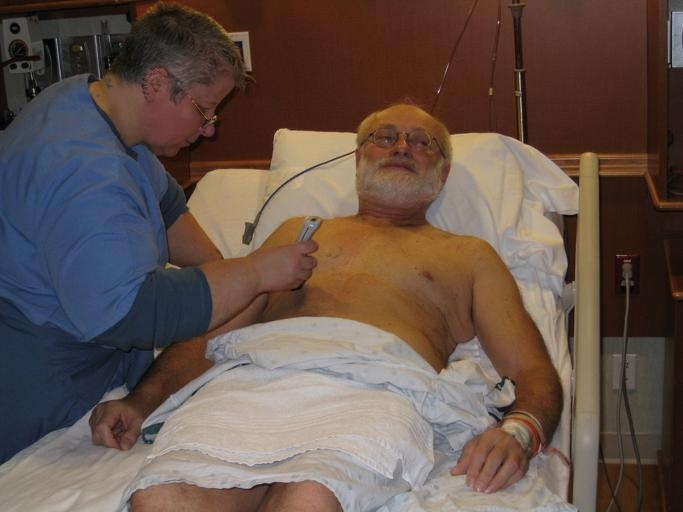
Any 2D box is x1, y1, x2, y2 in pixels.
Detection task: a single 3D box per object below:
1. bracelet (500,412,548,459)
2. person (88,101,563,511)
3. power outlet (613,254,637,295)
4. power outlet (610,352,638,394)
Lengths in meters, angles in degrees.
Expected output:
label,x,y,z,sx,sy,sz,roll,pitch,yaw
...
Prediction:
label,x,y,z,sx,sy,sz,roll,pitch,yaw
bracelet,0.504,0.482,1.855,0.098,0.096,0.122,-32,-33,7
person,0.221,0.129,2.033,0.828,0.871,1.416,12,14,18
power outlet,1.282,0.068,2.998,0.096,0.188,0.100,-5,19,20
power outlet,1.263,0.524,2.994,0.017,0.173,0.103,-10,12,-36
